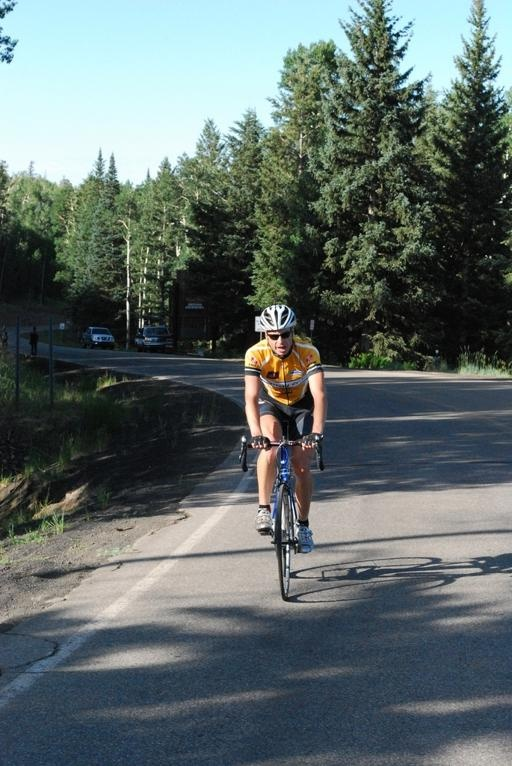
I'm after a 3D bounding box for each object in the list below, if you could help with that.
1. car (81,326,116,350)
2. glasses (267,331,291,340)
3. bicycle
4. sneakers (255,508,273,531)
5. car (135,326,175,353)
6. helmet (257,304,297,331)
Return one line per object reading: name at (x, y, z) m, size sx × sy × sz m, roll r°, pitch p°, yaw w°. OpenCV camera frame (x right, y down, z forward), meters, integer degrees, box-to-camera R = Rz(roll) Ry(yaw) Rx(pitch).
car at (-14.545, -4.111, 69.966) m, size 1.766 × 1.591 × 3.441 m, roll 0°, pitch -2°, yaw -22°
glasses at (0.158, -0.329, 5.285) m, size 0.148 × 0.062 × 0.102 m, roll 1°, pitch 2°, yaw -1°
bicycle at (0.258, 0.914, 5.383) m, size 0.388 × 1.117 × 0.857 m, roll 1°, pitch 2°, yaw 4°
sneakers at (0.054, 0.964, 5.272) m, size 0.104 × 0.164 × 0.200 m, roll 1°, pitch 2°, yaw 2°
car at (-8.543, -3.747, 64.287) m, size 3.031 × 2.212 × 2.137 m, roll 1°, pitch 2°, yaw 1°
helmet at (0.130, -0.453, 5.346) m, size 0.232 × 0.208 × 0.444 m, roll 1°, pitch 2°, yaw -4°
